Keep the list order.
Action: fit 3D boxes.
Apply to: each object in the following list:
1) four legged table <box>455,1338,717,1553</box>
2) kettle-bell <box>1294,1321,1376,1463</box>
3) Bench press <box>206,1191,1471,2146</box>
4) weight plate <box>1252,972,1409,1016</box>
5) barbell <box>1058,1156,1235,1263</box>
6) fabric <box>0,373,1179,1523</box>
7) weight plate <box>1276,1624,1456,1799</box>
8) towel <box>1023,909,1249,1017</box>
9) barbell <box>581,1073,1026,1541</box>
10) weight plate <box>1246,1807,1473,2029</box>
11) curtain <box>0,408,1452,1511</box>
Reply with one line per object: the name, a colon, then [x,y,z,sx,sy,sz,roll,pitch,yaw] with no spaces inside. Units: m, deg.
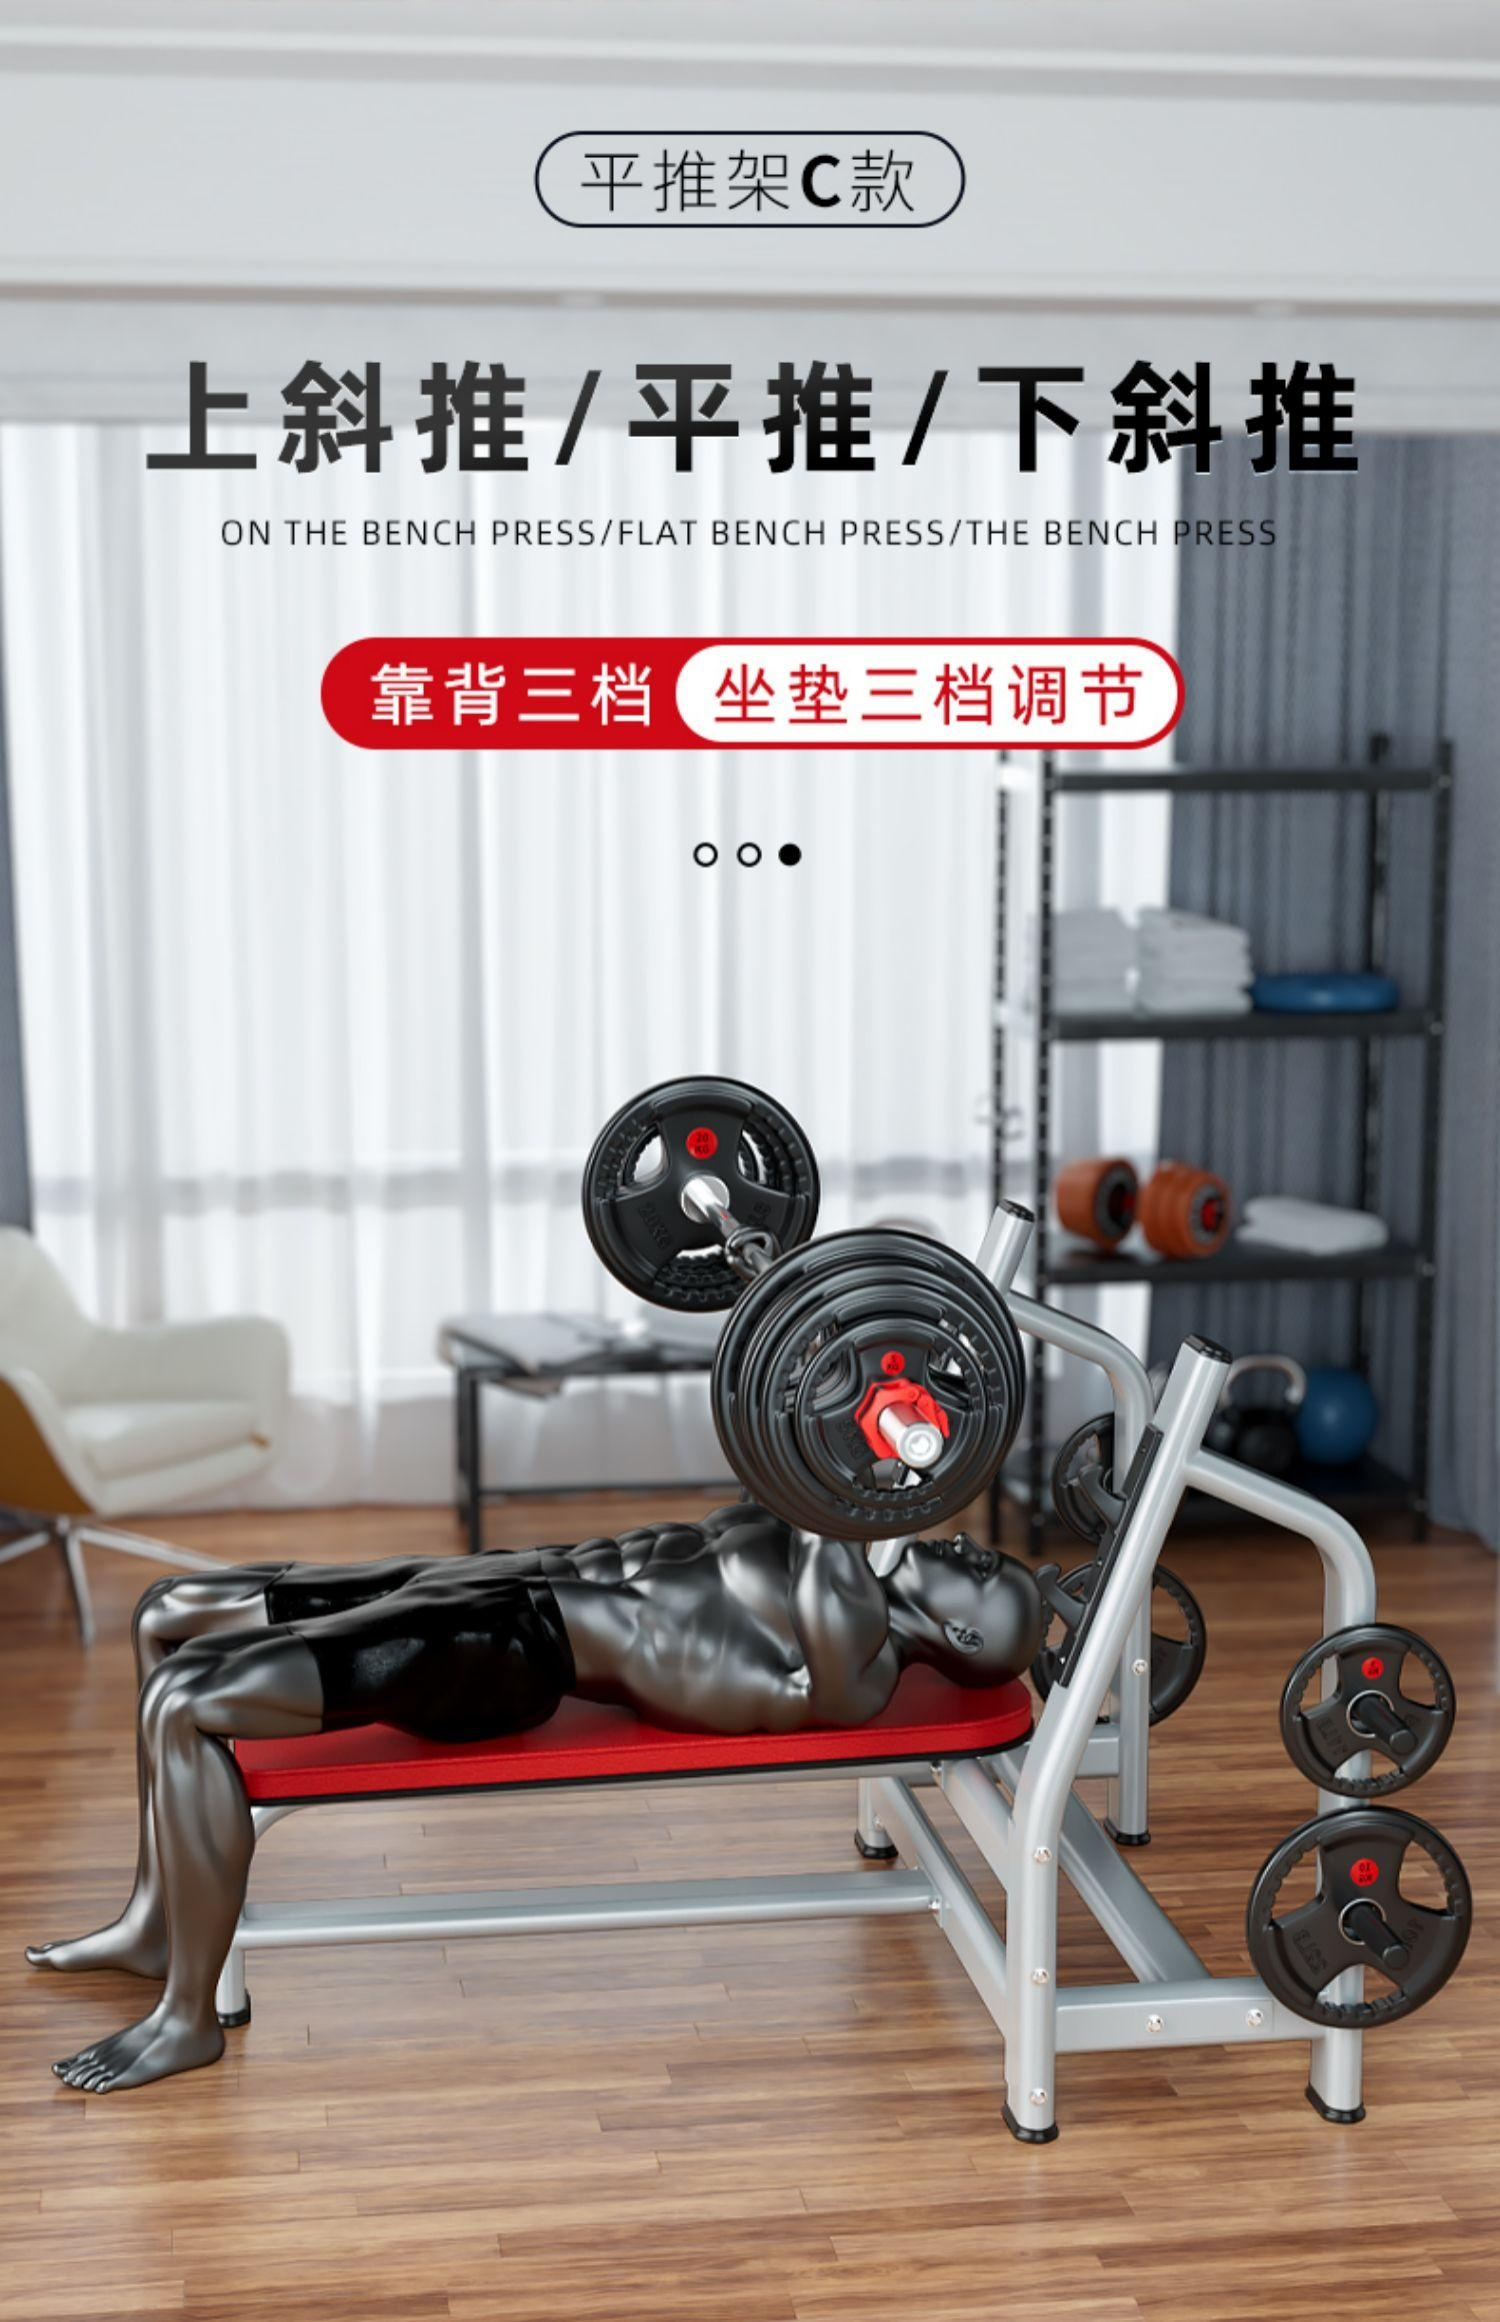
four legged table: [-0.359,0.501,4.006,0.503,0.400,0.476,-2,5,-30]
kettle-bell: [1.259,0.535,4.241,0.199,0.227,0.194,5,-5,14]
Bench press: [0.061,0.568,2.247,1.144,0.750,1.108,1,1,-7]
weight plate: [1.190,-0.348,4.077,0.297,0.083,0.188,0,4,7]
barbell: [0.847,0.097,4.123,0.408,0.190,0.218,0,-22,36]
fabric: [-0.406,-0.525,3.893,2.364,2.359,0.051,-1,10,-6]
weight plate: [0.565,0.508,1.800,0.159,0.166,0.158,-2,5,-3]
towel: [0.798,-0.393,3.955,0.284,0.124,0.289,-1,6,-13]
barbell: [0.022,0.121,2.037,0.294,0.392,0.906,-1,4,-11]
weight plate: [0.560,0.723,1.843,0.220,0.247,0.102,-1,5,-13]
curtain: [-0.105,-0.507,3.945,2.364,1.672,0.046,-1,9,-7]
